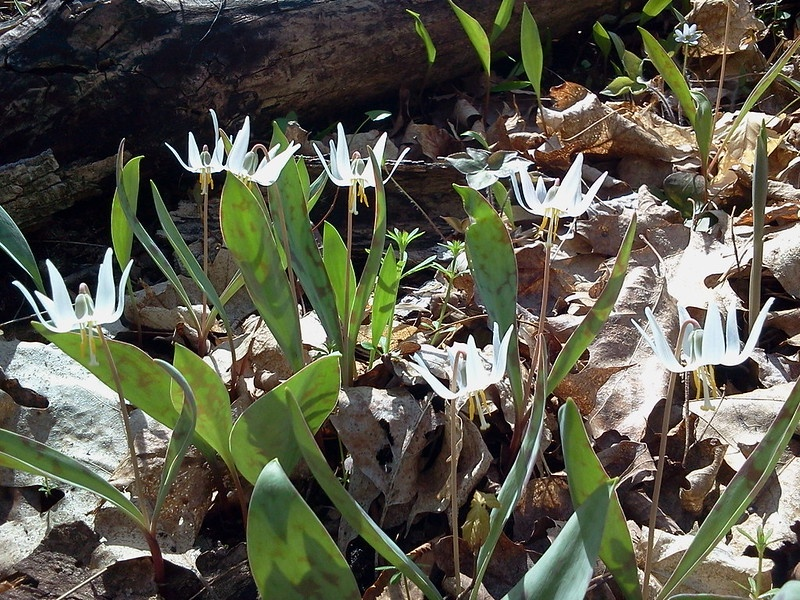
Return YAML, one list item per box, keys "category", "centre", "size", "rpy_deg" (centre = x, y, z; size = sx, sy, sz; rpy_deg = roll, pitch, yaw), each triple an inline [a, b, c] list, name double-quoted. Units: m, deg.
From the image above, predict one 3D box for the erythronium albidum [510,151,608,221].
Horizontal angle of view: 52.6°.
- category: "erythronium albidum"
  centre: [0.536, -0.338, 2.728]
  size: [0.317, 0.207, 0.311]
  rpy_deg: [10, -5, -30]

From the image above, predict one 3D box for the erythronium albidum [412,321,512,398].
- category: "erythronium albidum"
  centre: [0.191, 0.225, 2.409]
  size: [0.255, 0.176, 0.237]
  rpy_deg: [-28, 7, -43]

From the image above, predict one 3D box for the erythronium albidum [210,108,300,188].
- category: "erythronium albidum"
  centre: [-0.526, -0.492, 2.941]
  size: [0.282, 0.203, 0.348]
  rpy_deg: [13, -8, 15]

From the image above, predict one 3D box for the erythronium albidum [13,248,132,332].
- category: "erythronium albidum"
  centre: [-0.964, -0.015, 2.505]
  size: [0.234, 0.171, 0.258]
  rpy_deg: [7, 18, 45]
